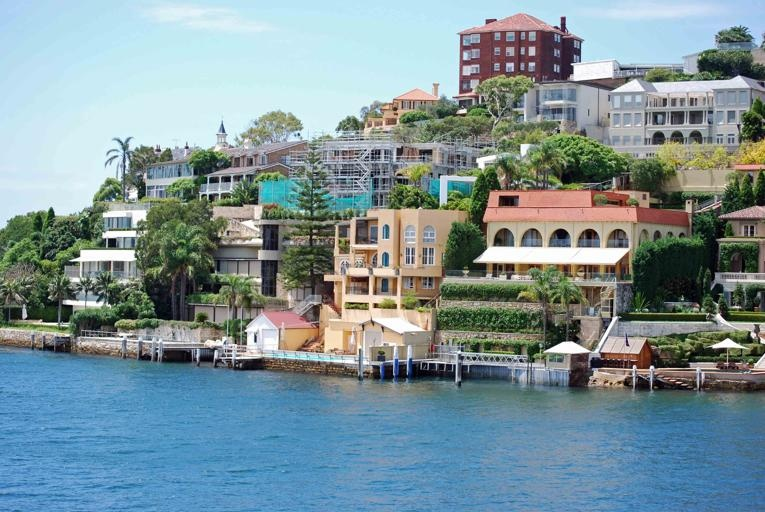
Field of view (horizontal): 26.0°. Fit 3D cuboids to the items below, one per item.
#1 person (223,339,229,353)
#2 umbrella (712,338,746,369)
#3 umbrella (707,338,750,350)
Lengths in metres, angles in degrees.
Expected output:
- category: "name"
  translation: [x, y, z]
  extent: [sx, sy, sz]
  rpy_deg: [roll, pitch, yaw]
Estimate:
- category: "person"
  translation: [-17.099, 9.905, 182.157]
  extent: [0.796, 1.322, 1.464]
  rpy_deg: [0, -3, -8]
- category: "umbrella"
  translation: [34.862, 9.953, 165.981]
  extent: [2.826, 2.552, 2.842]
  rpy_deg: [3, 5, 44]
- category: "umbrella"
  translation: [34.779, 8.912, 165.987]
  extent: [3.106, 1.141, 3.269]
  rpy_deg: [0, -3, -4]
